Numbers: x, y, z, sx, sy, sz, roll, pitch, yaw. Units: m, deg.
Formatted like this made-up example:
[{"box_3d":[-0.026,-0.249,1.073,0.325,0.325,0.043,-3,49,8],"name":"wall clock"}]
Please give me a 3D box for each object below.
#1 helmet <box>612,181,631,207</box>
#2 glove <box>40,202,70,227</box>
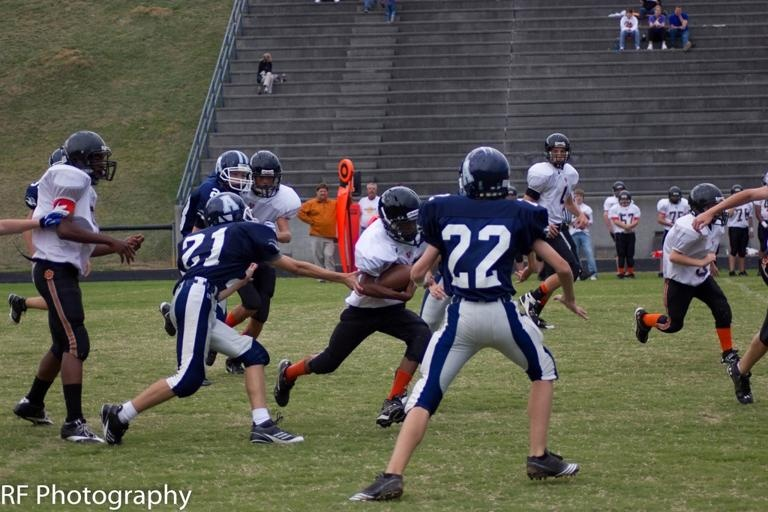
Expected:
[{"box_3d":[5.390,-1.439,32.183,0.459,0.503,0.521,-3,9,1],"name":"helmet"},{"box_3d":[-5.052,-0.579,21.241,0.453,0.311,0.122,-24,-42,1],"name":"glove"}]
